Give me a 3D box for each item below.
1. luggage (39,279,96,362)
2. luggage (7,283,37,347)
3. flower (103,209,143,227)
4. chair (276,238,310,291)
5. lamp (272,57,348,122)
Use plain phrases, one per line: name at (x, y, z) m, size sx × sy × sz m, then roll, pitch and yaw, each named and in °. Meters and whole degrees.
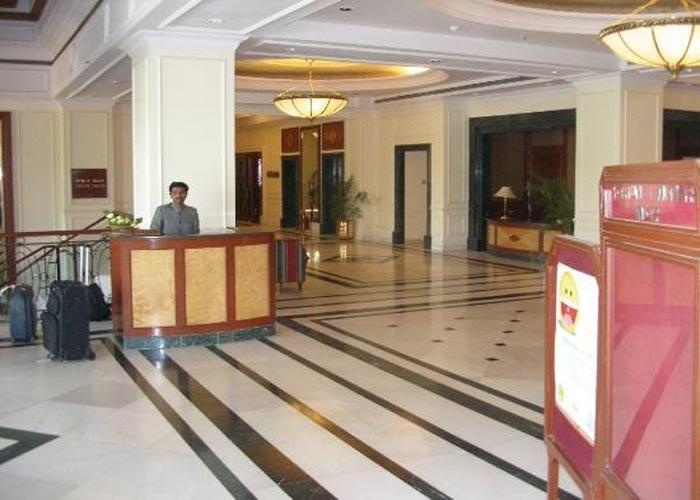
luggage at (-3.712, 0.918, 6.895) m, size 0.840 × 1.393 × 1.075 m, roll 0°, pitch 4°, yaw -30°
luggage at (-4.631, 0.953, 7.178) m, size 0.413 × 1.038 × 0.794 m, roll 0°, pitch 5°, yaw -26°
flower at (-3.167, -0.433, 7.211) m, size 0.412 × 0.125 × 0.416 m, roll 6°, pitch -1°, yaw 9°
chair at (-1.198, 0.239, 10.145) m, size 0.731 × 0.993 × 0.736 m, roll 4°, pitch 10°, yaw 7°
lamp at (-1.082, -4.226, 13.352) m, size 2.014 × 1.609 × 2.023 m, roll -3°, pitch 11°, yaw -9°
